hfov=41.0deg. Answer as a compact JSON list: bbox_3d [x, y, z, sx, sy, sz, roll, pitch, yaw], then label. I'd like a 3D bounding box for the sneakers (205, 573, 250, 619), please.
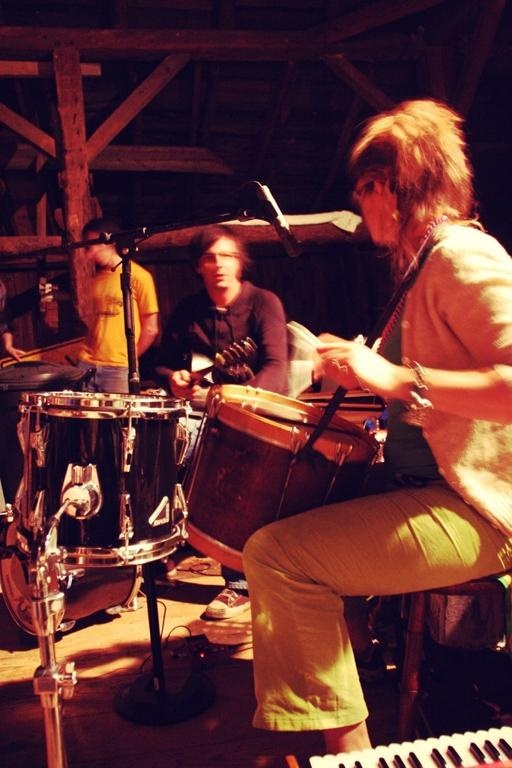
[{"bbox_3d":[-0.126,0.829,2.702,0.182,0.172,0.476,-4,-15,11],"label":"sneakers"}]

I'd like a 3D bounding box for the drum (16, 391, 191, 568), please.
[{"bbox_3d":[-0.481,0.197,1.863,0.474,0.413,0.485,1,1,42],"label":"drum"}]

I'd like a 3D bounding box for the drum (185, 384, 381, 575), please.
[{"bbox_3d":[-0.012,0.262,1.972,0.537,0.396,0.514,21,6,-2],"label":"drum"}]

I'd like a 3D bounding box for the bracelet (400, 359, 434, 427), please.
[{"bbox_3d":[0.336,0.029,1.423,0.042,0.115,0.092,-3,-1,-2],"label":"bracelet"}]
